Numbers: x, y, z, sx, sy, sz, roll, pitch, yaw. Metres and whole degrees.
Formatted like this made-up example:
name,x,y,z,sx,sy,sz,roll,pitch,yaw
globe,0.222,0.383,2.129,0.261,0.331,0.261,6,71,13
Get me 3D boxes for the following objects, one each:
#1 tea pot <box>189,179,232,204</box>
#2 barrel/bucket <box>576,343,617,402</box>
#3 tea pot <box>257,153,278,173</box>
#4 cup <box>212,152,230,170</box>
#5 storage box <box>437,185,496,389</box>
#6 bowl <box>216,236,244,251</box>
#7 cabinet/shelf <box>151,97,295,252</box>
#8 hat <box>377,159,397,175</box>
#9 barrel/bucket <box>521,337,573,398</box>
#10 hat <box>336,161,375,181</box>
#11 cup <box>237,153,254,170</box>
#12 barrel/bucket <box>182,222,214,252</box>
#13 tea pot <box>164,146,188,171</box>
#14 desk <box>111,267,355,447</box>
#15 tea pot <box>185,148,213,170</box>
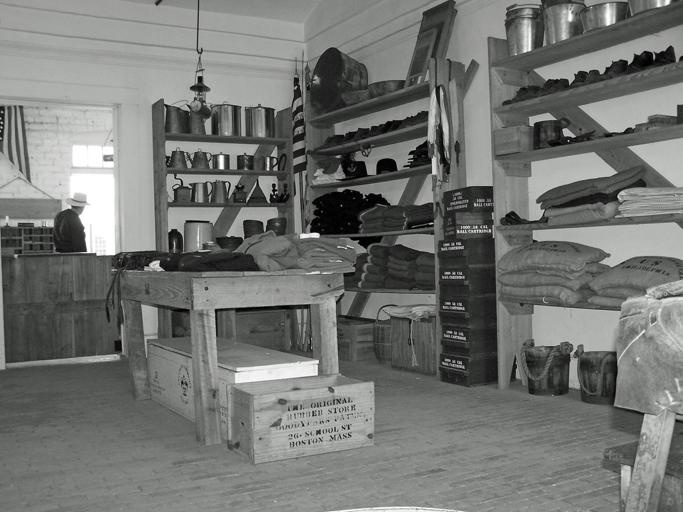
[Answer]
name,x,y,z,sx,sy,sz,roll,pitch,yaw
tea pot,-1.717,-0.815,7.064,0.363,0.265,0.448,-1,0,22
barrel/bucket,1.950,0.928,4.150,0.281,0.423,0.188,-1,0,25
tea pot,-1.018,-1.257,7.405,0.328,0.212,0.197,0,-1,-27
cup,-1.593,-1.244,7.163,0.243,0.235,0.231,0,-2,0
storage box,1.131,0.276,4.880,0.511,1.778,0.331,-1,1,10
bowl,-1.445,-0.157,6.989,0.335,0.141,0.333,-1,0,0
cabinet/shelf,-1.705,-1.220,7.310,1.794,0.415,1.869,2,34,-25
hat,0.507,-1.039,6.322,0.235,0.158,0.230,-3,4,-25
barrel/bucket,1.718,0.924,4.582,0.444,0.398,0.444,-3,4,0
hat,0.129,-1.036,6.711,0.307,0.202,0.307,1,3,43
cup,-1.287,-1.261,7.261,0.188,0.226,0.242,-4,-6,42
barrel/bucket,-1.835,-0.250,6.926,0.367,0.313,0.373,-1,0,0
tea pot,-2.068,-1.226,6.878,0.283,0.282,0.325,0,0,-1
desk,-0.745,0.888,3.968,1.112,1.135,1.923,0,-1,-38
tea pot,-1.846,-1.236,7.015,0.377,0.232,0.230,-6,13,-17
